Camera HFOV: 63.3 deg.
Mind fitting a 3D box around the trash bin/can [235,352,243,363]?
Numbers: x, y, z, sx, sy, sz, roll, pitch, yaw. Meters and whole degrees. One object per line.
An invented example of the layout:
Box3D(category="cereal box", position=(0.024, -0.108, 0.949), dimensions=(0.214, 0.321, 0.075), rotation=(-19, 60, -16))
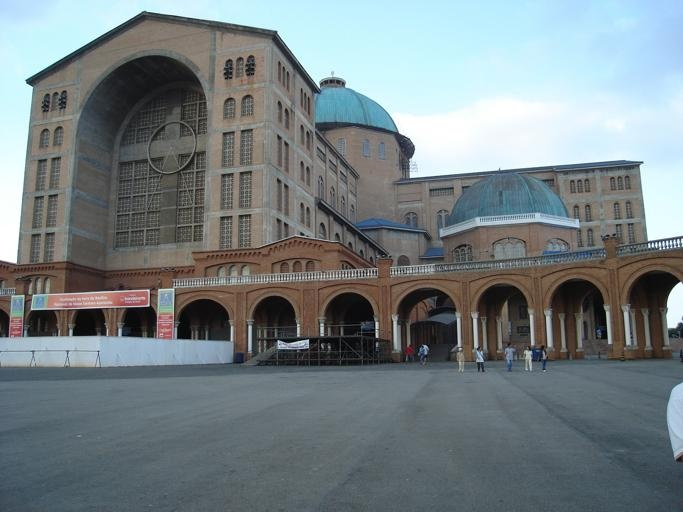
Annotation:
Box3D(category="trash bin/can", position=(-9.419, 9.369, 51.008), dimensions=(0.831, 1.024, 0.824), rotation=(8, -14, -43))

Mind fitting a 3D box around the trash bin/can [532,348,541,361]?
Box3D(category="trash bin/can", position=(14.088, 7.175, 39.849), dimensions=(0.708, 0.979, 0.956), rotation=(-2, -5, 16))
